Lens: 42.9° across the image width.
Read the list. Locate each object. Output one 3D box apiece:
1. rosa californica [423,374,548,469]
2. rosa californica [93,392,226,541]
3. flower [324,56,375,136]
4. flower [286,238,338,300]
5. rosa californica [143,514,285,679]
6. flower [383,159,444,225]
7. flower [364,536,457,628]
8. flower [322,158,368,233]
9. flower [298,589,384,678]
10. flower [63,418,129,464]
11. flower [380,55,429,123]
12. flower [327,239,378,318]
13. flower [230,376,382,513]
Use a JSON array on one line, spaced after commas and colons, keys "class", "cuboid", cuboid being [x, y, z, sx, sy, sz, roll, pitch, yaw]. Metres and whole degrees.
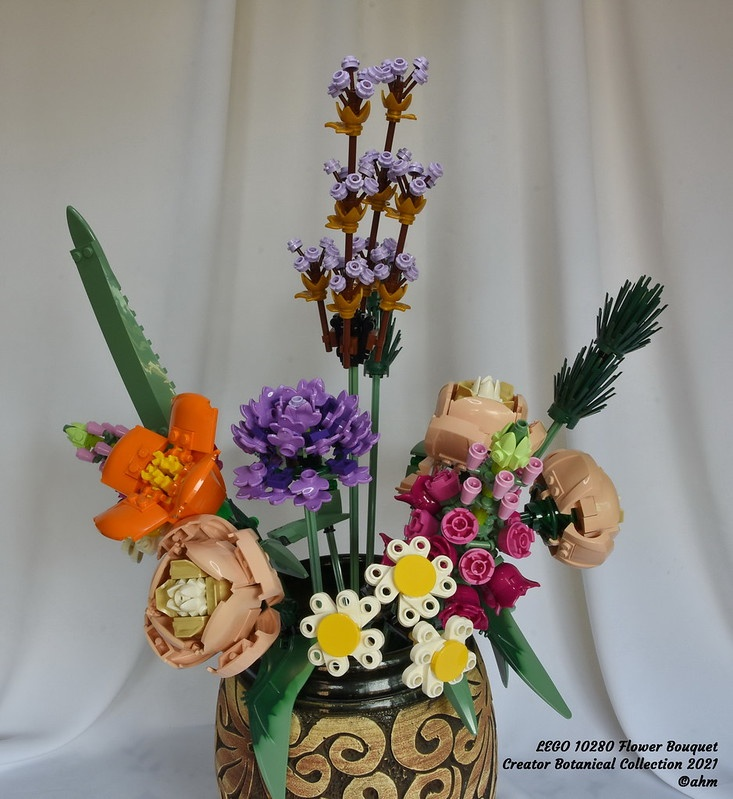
[{"class": "rosa californica", "cuboid": [0.136, 0.009, 1.034, 0.108, 0.048, 0.108, 7, 4, -15]}, {"class": "rosa californica", "cuboid": [-0.219, 0.072, 0.971, 0.143, 0.119, 0.092, -20, 43, -28]}, {"class": "flower", "cuboid": [-0.017, -0.315, 0.982, 0.059, 0.080, 0.065, 6, 6, 17]}, {"class": "flower", "cuboid": [-0.058, -0.141, 1.040, 0.056, 0.060, 0.048, -11, 27, -9]}, {"class": "rosa californica", "cuboid": [-0.156, 0.201, 0.948, 0.140, 0.141, 0.109, -8, 39, -14]}, {"class": "flower", "cuboid": [0.046, -0.220, 1.004, 0.055, 0.068, 0.051, 10, -4, -12]}, {"class": "flower", "cuboid": [0.045, 0.184, 0.935, 0.082, 0.090, 0.066, 15, 39, 16]}, {"class": "flower", "cuboid": [-0.013, -0.208, 1.003, 0.054, 0.060, 0.050, -2, 20, -24]}, {"class": "flower", "cuboid": [-0.025, 0.233, 0.933, 0.081, 0.086, 0.053, 0, 38, -4]}, {"class": "flower", "cuboid": [-0.301, 0.048, 1.059, 0.076, 0.040, 0.034, 15, -1, 4]}, {"class": "flower", "cuboid": [0.030, -0.324, 0.985, 0.051, 0.062, 0.040, 10, 20, -16]}, {"class": "flower", "cuboid": [-0.020, -0.124, 1.022, 0.050, 0.070, 0.053, 23, 35, 15]}, {"class": "flower", "cuboid": [-0.060, 0.051, 0.926, 0.140, 0.115, 0.104, 1, 37, -3]}]
